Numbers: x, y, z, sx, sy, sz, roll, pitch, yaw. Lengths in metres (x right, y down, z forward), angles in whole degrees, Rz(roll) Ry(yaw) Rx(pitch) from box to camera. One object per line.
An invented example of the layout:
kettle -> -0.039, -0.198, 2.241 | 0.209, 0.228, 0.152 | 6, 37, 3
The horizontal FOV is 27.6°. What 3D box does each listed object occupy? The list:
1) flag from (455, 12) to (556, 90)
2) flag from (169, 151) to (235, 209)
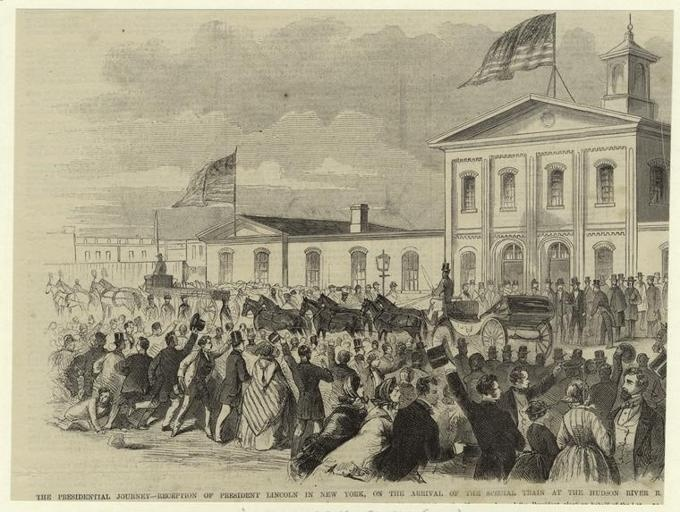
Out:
flag -> 3.540, -4.511, 30.097 | 1.641, 1.198, 0.177 | -1, 9, 1
flag -> -3.034, -1.729, 30.306 | 1.097, 0.980, 0.134 | 2, 11, 3
